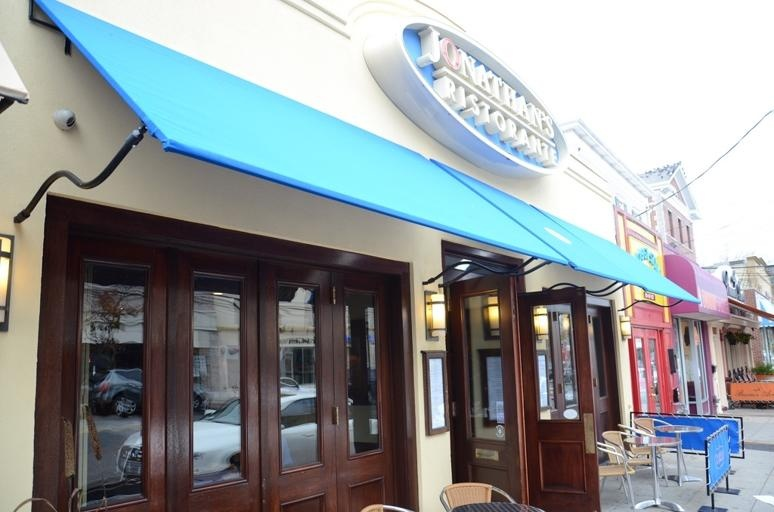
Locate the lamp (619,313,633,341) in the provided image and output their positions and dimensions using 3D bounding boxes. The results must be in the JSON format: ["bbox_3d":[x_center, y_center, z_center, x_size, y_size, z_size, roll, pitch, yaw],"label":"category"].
[{"bbox_3d":[6.037,1.770,13.998,0.196,0.671,0.582,-12,-15,32],"label":"lamp"}]

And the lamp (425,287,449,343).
[{"bbox_3d":[0.780,0.919,8.641,0.273,0.775,0.416,-12,-15,33],"label":"lamp"}]

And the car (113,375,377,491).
[{"bbox_3d":[-1.962,2.167,6.680,2.098,0.735,0.890,13,-16,-43],"label":"car"}]
